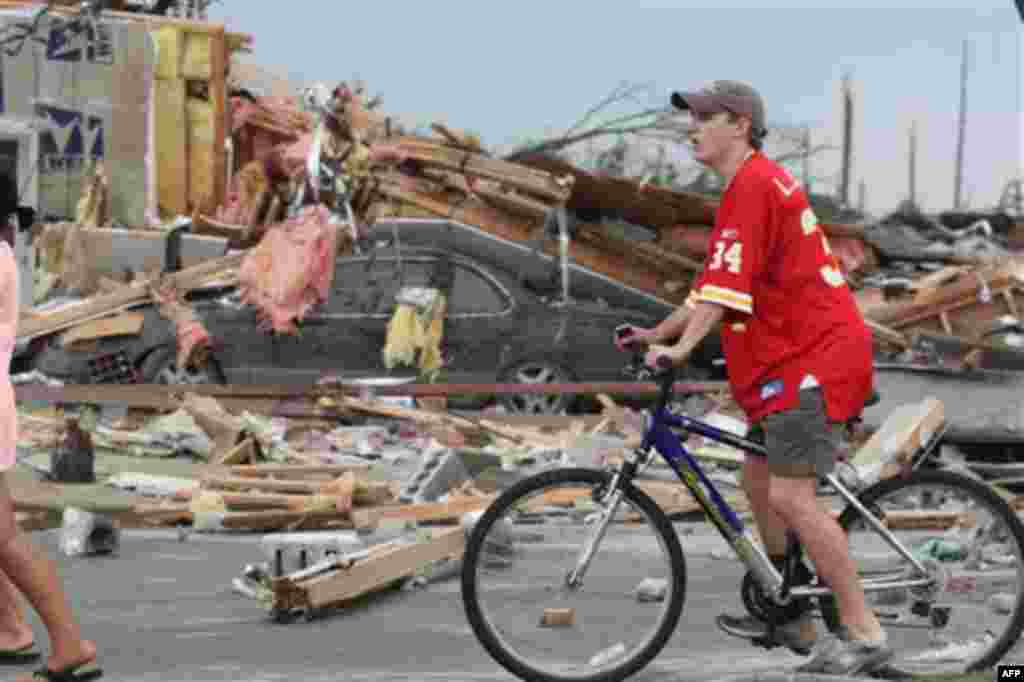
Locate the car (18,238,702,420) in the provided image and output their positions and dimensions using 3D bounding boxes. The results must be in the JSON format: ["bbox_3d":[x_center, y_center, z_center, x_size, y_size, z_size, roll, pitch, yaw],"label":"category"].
[{"bbox_3d":[-1.478,-0.134,19.304,6.203,1.284,2.056,0,1,-6],"label":"car"}]

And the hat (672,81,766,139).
[{"bbox_3d":[1.519,-1.780,13.727,0.703,0.247,0.411,12,13,-17],"label":"hat"}]
